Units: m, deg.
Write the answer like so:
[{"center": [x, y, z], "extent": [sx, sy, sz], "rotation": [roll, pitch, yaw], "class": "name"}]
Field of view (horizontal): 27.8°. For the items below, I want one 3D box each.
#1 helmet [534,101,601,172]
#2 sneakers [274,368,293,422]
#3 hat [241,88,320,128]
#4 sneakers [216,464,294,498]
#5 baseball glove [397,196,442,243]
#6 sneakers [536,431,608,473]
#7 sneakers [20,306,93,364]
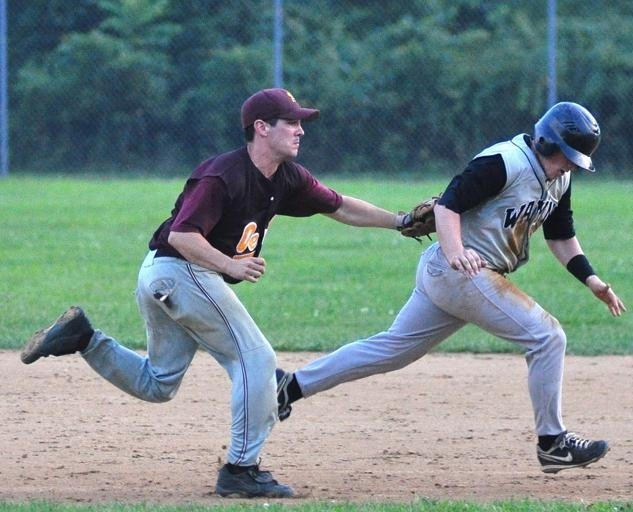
[{"center": [1.852, -0.884, 9.473], "extent": [0.481, 0.501, 0.322], "rotation": [4, 6, 7], "class": "helmet"}, {"center": [-0.269, 1.052, 9.679], "extent": [0.169, 0.360, 0.132], "rotation": [11, -1, -3], "class": "sneakers"}, {"center": [-0.267, -1.086, 9.393], "extent": [0.487, 0.214, 0.292], "rotation": [-14, 5, 11], "class": "hat"}, {"center": [-0.491, 1.634, 9.381], "extent": [0.667, 0.242, 0.217], "rotation": [2, -2, -4], "class": "sneakers"}, {"center": [0.849, -0.288, 10.031], "extent": [0.426, 0.169, 0.236], "rotation": [-19, -9, 32], "class": "baseball glove"}, {"center": [1.866, 1.430, 9.333], "extent": [0.547, 0.251, 0.229], "rotation": [-15, 21, 17], "class": "sneakers"}, {"center": [-1.925, 0.611, 9.569], "extent": [0.575, 0.264, 0.298], "rotation": [-32, 9, 12], "class": "sneakers"}]
